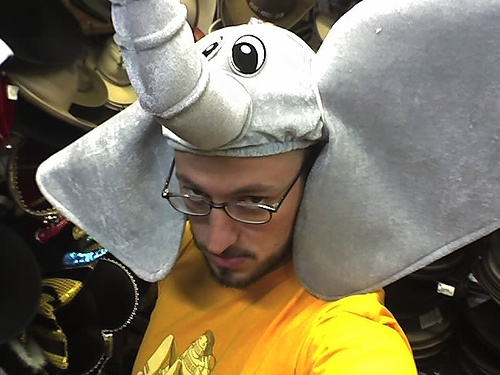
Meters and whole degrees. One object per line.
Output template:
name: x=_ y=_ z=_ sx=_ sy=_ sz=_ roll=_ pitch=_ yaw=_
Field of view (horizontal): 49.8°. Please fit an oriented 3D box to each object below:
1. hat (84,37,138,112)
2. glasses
hat: x=-0.595 y=-0.487 z=2.291 sx=0.204 sy=0.114 sz=0.326 roll=12 pitch=77 yaw=-30
glasses: x=-0.065 y=0.015 z=1.560 sx=0.408 sy=0.217 sz=0.168 roll=15 pitch=41 yaw=11
